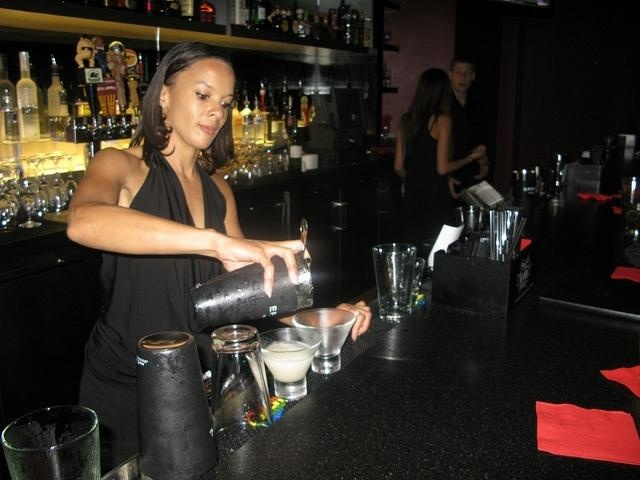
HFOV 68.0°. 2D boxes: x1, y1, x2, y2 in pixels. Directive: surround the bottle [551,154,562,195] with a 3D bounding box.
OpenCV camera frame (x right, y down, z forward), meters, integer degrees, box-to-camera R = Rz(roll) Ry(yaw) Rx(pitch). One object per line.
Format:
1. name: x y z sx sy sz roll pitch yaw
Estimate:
1. bottle: 1.767 -0.493 3.530 0.083 0.267 0.397 5 13 25
